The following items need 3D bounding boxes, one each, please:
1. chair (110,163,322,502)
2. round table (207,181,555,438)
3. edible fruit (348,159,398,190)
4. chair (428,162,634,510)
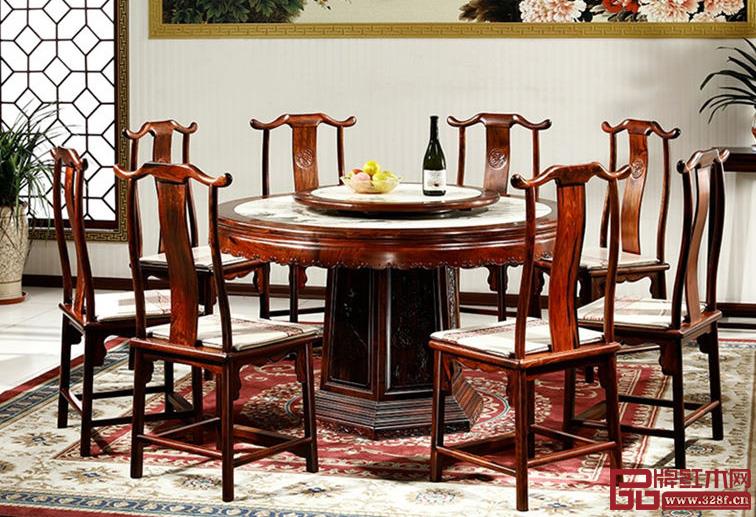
[{"bbox_3d":[-0.711,0.269,2.969,0.713,1.341,0.727,-10,16,-36],"label":"chair"},{"bbox_3d":[-0.013,0.187,3.617,1.458,0.811,1.307,-1,9,-3],"label":"round table"},{"bbox_3d":[-0.058,-0.448,3.754,0.218,0.094,0.201,-2,10,-14],"label":"edible fruit"},{"bbox_3d":[0.661,0.284,2.872,0.783,1.344,0.539,-8,15,-31],"label":"chair"}]
